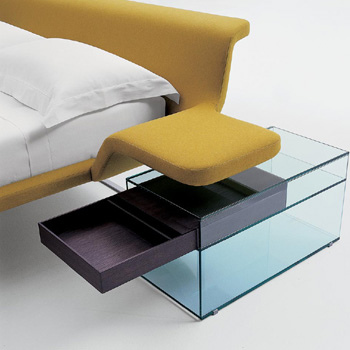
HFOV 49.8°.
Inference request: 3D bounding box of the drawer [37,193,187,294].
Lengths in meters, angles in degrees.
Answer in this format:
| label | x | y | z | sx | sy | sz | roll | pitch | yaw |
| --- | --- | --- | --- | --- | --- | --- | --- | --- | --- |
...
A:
| label | x | y | z | sx | sy | sz | roll | pitch | yaw |
| --- | --- | --- | --- | --- | --- | --- | --- | --- | --- |
| drawer | -0.193 | 0.191 | 1.153 | 0.293 | 0.119 | 0.363 | -18 | 33 | -37 |
